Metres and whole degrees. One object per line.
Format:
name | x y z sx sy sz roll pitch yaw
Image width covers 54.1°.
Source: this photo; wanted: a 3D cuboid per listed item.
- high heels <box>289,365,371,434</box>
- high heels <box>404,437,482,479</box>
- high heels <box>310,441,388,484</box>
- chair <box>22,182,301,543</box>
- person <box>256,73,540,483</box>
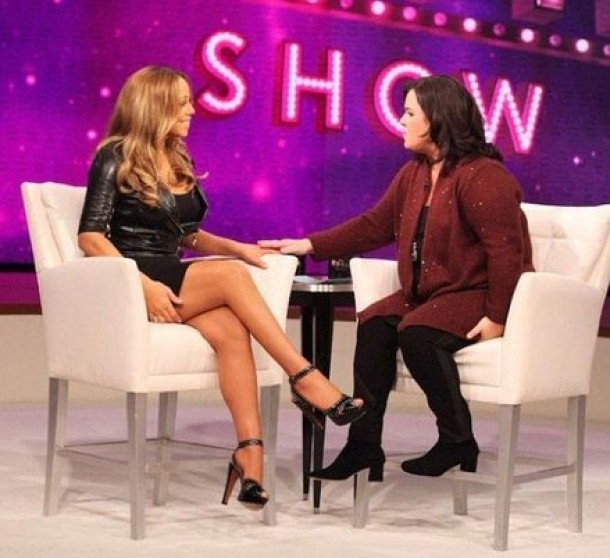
high heels | 0.031 0.279 1.442 0.277 0.070 0.098 24 -42 -20
high heels | 0.349 0.447 1.518 0.210 0.089 0.104 1 -5 0
high heels | 0.116 0.480 1.555 0.209 0.089 0.065 -2 -1 -3
chair | -0.494 0.229 1.696 0.661 0.793 0.584 15 -28 -36
person | 0.346 0.089 2.382 1.274 1.624 0.813 3 -9 -11
